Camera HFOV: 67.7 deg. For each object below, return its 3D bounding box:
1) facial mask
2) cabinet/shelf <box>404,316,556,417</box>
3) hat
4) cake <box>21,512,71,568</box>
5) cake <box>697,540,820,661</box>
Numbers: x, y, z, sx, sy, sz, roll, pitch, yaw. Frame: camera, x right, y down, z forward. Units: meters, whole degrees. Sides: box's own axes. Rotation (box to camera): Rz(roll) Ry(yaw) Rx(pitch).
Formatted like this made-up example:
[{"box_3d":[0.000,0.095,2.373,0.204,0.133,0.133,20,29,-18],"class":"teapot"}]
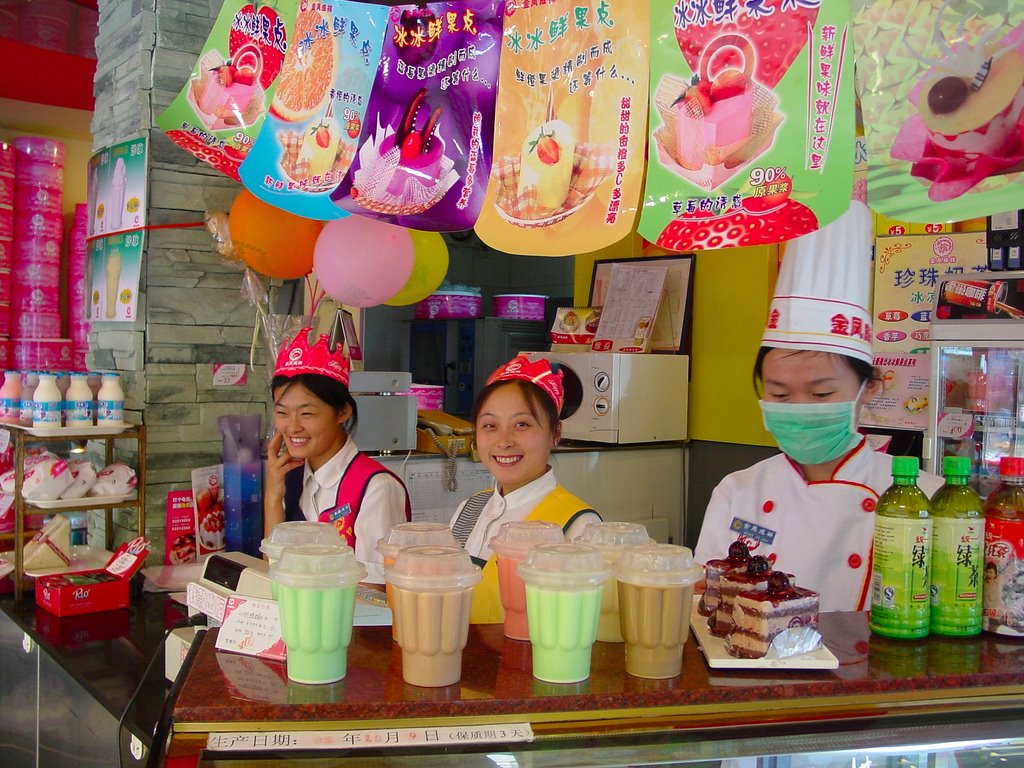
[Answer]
[{"box_3d":[0.851,0.105,2.174,0.205,0.142,0.220,0,9,28],"class":"facial mask"},{"box_3d":[-0.243,-0.237,5.853,0.701,0.885,1.235,0,1,-35],"class":"cabinet/shelf"},{"box_3d":[0.883,-0.293,2.165,0.285,0.468,0.117,3,0,-5],"class":"hat"},{"box_3d":[-1.735,0.587,2.853,0.149,0.179,0.170,2,1,-30],"class":"cake"},{"box_3d":[0.478,0.409,1.509,0.160,0.150,0.232,-1,8,-10],"class":"cake"}]
